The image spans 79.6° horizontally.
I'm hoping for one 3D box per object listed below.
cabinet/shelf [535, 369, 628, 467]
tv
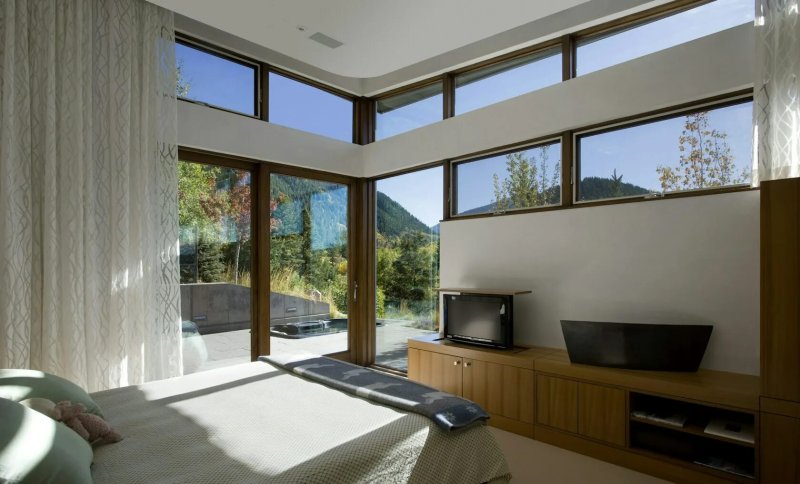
[{"bbox_3d":[1.695,1.609,4.388,0.960,0.780,0.319,-2,-4,39],"label":"cabinet/shelf"},{"bbox_3d":[0.857,0.850,5.122,0.666,0.451,0.093,0,0,38],"label":"tv"}]
